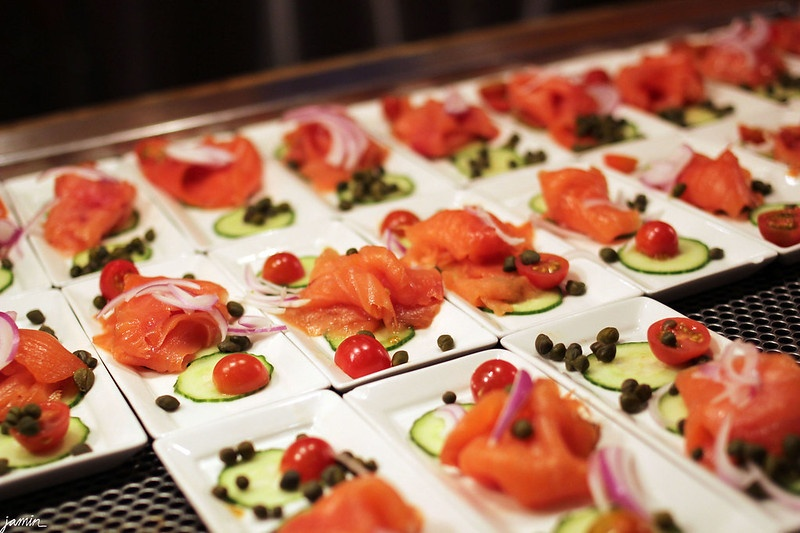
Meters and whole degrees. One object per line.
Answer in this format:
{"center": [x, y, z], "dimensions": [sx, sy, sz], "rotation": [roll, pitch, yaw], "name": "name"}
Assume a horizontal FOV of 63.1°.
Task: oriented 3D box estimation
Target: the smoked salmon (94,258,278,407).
{"center": [-0.705, 0.182, 2.044], "dimensions": [0.457, 0.144, 0.447], "rotation": [-7, 31, -11], "name": "smoked salmon"}

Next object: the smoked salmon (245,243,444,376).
{"center": [-0.150, 0.122, 2.130], "dimensions": [0.455, 0.144, 0.472], "rotation": [-34, 52, -28], "name": "smoked salmon"}
